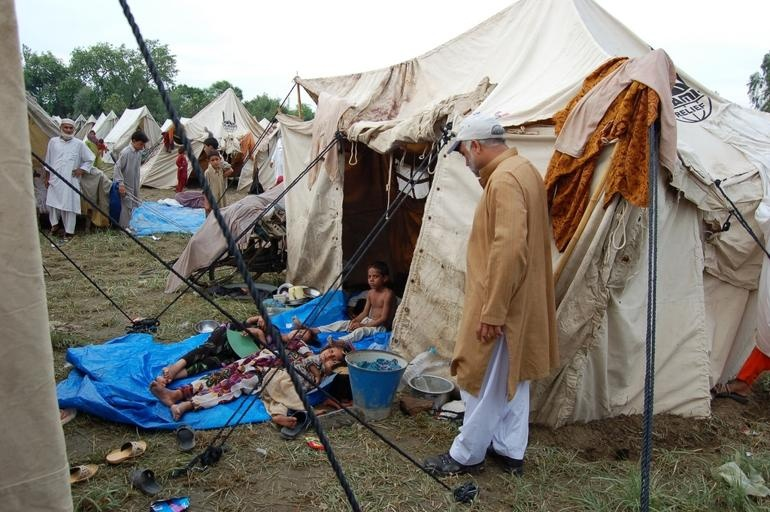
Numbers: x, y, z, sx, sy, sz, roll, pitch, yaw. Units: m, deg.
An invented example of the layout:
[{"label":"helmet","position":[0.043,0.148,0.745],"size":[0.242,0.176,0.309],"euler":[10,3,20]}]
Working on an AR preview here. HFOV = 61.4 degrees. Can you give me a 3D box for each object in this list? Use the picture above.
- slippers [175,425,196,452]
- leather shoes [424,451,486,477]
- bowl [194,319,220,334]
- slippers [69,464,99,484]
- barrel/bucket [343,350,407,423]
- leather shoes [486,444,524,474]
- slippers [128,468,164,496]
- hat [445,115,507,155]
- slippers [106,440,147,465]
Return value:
[{"label":"slippers","position":[-1.632,1.488,5.295],"size":[0.150,0.128,0.204],"euler":[-6,19,-17]},{"label":"leather shoes","position":[0.540,1.632,5.044],"size":[0.451,0.181,0.180],"euler":[5,-2,-2]},{"label":"bowl","position":[-1.981,0.784,7.171],"size":[0.151,0.055,0.148],"euler":[3,17,-1]},{"label":"slippers","position":[-2.286,1.633,4.884],"size":[0.225,0.063,0.118],"euler":[-17,46,-30]},{"label":"barrel/bucket","position":[-0.155,1.141,5.715],"size":[0.539,0.439,0.575],"euler":[7,1,0]},{"label":"leather shoes","position":[0.943,1.607,5.189],"size":[0.125,0.156,0.345],"euler":[-2,5,-26]},{"label":"slippers","position":[-1.795,1.697,4.850],"size":[0.138,0.103,0.262],"euler":[8,9,-42]},{"label":"hat","position":[0.710,-0.969,5.049],"size":[0.428,0.227,0.293],"euler":[-8,15,10]},{"label":"slippers","position":[-2.045,1.543,5.103],"size":[0.256,0.078,0.139],"euler":[-18,29,-28]}]
